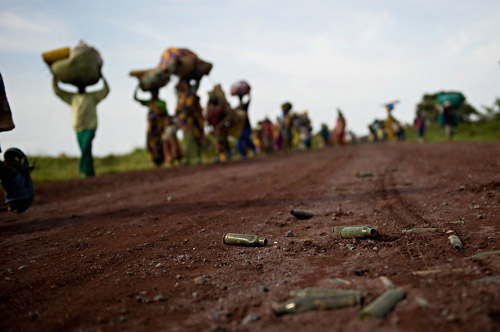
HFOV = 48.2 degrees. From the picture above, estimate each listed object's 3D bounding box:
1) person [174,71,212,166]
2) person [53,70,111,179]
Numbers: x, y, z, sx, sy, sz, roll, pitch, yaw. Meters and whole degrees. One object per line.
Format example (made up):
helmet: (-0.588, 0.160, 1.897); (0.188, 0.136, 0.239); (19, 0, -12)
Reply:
person: (-1.135, -0.891, 10.923); (0.481, 1.943, 0.670); (-2, -3, 3)
person: (-3.561, -0.916, 12.194); (1.154, 1.833, 0.529); (-5, 3, 9)
